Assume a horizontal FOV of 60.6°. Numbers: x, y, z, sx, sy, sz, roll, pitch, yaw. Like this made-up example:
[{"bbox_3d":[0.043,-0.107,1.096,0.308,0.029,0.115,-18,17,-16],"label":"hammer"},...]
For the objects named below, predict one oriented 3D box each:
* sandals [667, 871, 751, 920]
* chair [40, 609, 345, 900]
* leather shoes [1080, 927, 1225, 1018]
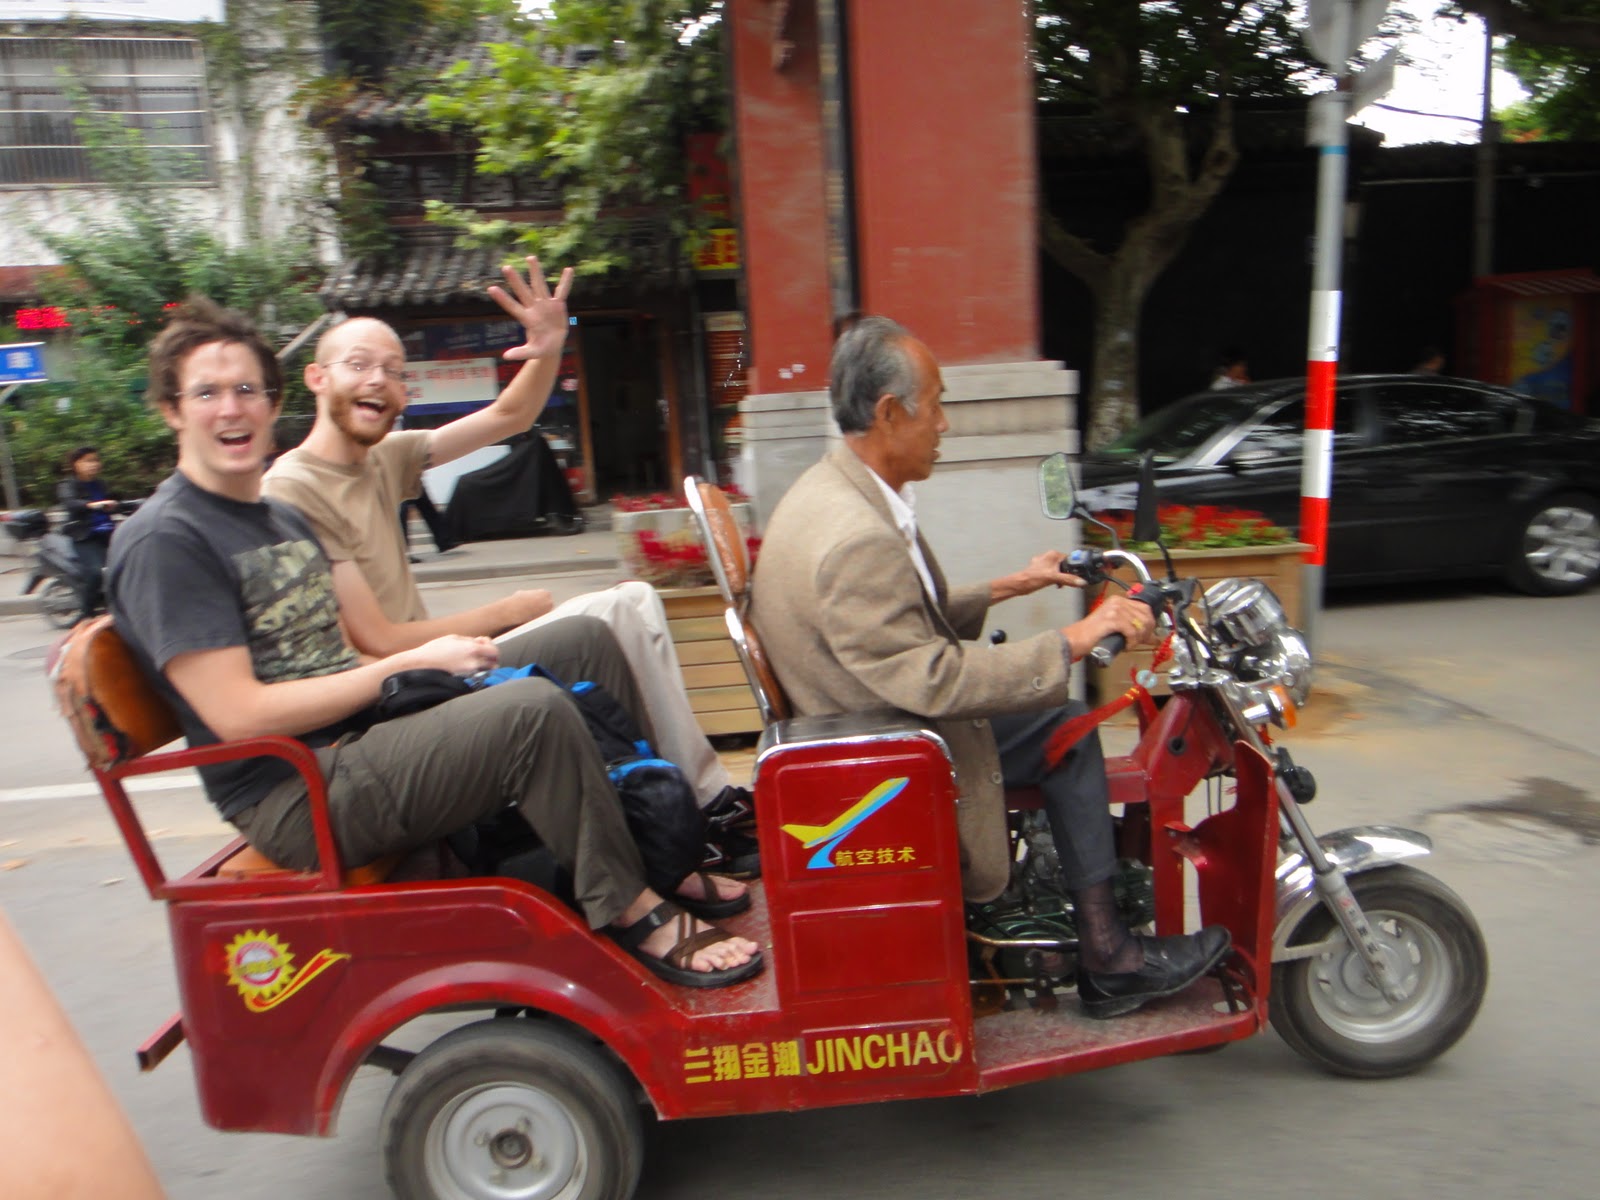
[{"bbox_3d":[-0.256,0.843,3.936,0.220,0.067,0.114,-1,6,5],"label":"sandals"},{"bbox_3d":[-1.408,0.332,3.384,0.750,0.722,0.517,-4,8,-13],"label":"chair"},{"bbox_3d":[0.976,1.006,3.821,0.393,0.142,0.196,-17,2,-2],"label":"leather shoes"}]
